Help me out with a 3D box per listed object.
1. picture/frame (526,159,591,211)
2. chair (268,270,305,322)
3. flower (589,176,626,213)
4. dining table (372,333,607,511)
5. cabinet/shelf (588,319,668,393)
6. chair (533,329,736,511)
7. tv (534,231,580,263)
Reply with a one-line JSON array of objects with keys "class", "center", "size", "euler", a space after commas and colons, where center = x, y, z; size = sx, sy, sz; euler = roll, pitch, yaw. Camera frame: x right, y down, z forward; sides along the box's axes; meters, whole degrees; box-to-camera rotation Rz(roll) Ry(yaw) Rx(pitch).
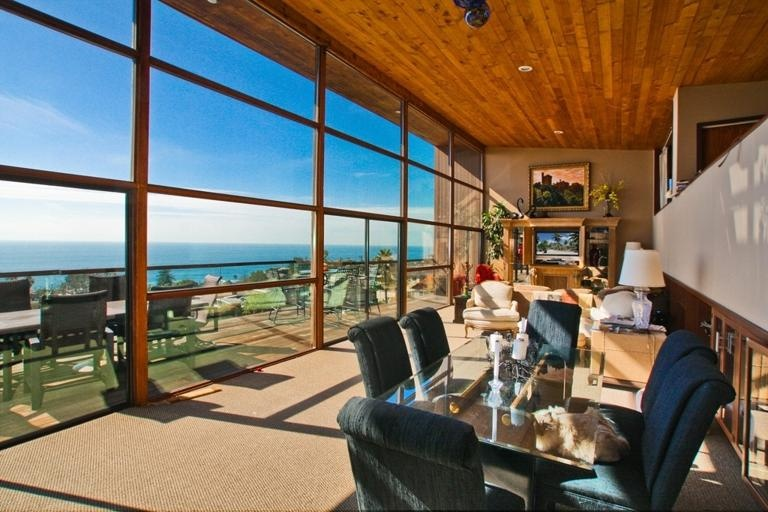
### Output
[{"class": "picture/frame", "center": [4.446, -1.792, 11.938], "size": [1.411, 1.143, 0.109], "euler": [1, 0, 23]}, {"class": "chair", "center": [-1.356, 0.536, 6.818], "size": [0.401, 0.685, 0.758], "euler": [-1, -1, 35]}, {"class": "flower", "center": [5.486, -1.467, 11.592], "size": [0.760, 0.789, 0.642], "euler": [11, -2, -30]}, {"class": "dining table", "center": [0.789, 1.292, 3.580], "size": [0.963, 0.335, 1.537], "euler": [1, 2, 28]}, {"class": "cabinet/shelf", "center": [2.678, 1.119, 5.217], "size": [0.936, 0.769, 0.504], "euler": [1, -1, 22]}, {"class": "chair", "center": [1.902, 1.206, 4.008], "size": [1.376, 1.605, 1.803], "euler": [4, 7, 26]}, {"class": "tv", "center": [4.223, -0.238, 11.518], "size": [0.797, 0.562, 0.232], "euler": [1, 0, 25]}]
